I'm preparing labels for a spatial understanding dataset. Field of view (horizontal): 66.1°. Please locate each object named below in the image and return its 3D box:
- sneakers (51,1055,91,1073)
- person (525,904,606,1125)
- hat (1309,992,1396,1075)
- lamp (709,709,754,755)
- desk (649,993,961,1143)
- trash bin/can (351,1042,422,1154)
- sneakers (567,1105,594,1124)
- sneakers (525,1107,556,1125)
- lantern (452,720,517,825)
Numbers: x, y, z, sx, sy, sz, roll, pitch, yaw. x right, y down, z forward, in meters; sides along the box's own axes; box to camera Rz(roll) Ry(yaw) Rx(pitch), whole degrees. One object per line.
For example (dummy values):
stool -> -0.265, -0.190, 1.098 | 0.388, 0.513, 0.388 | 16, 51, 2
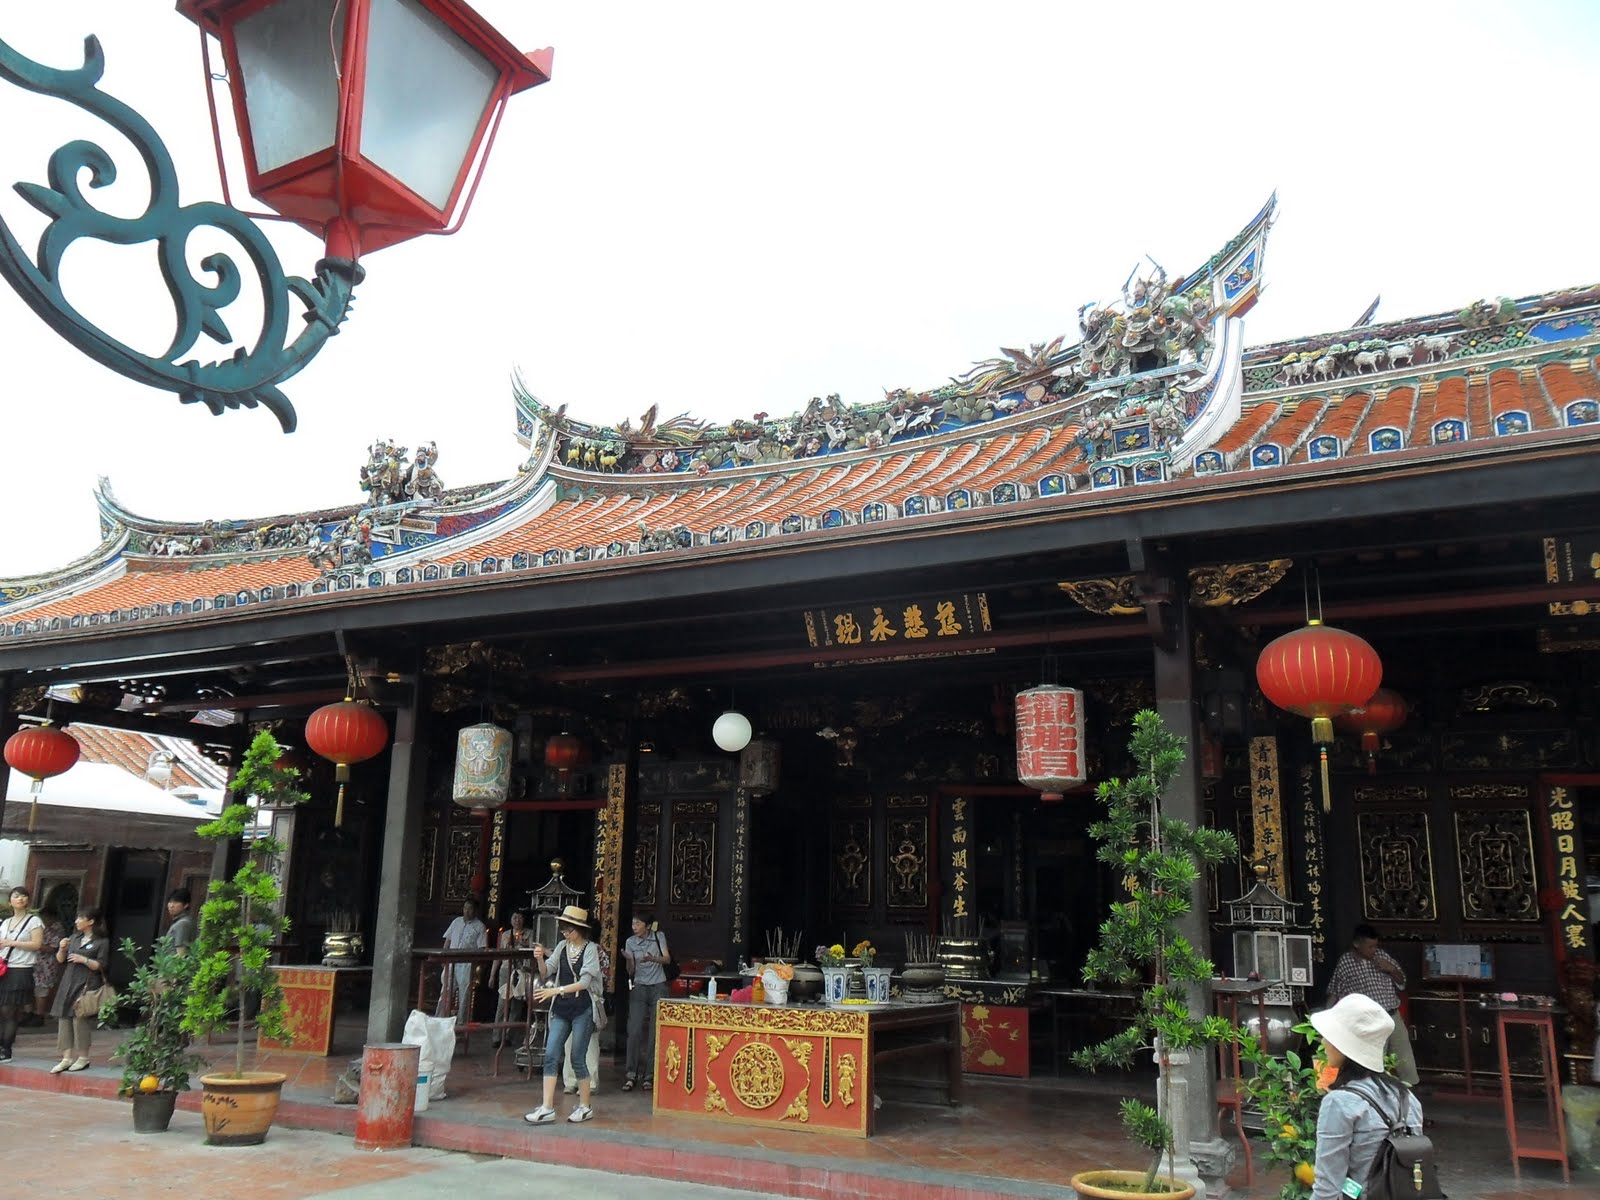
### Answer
sneakers -> -6.422, 4.099, 10.790 | 0.126, 0.118, 0.327 | -3, -19, 2
person -> -1.777, 3.092, 9.333 | 0.510, 1.531, 1.020 | 5, -20, -9
hat -> 2.153, 1.628, 4.646 | 0.370, 0.164, 0.298 | 14, 8, -27
lamp -> -0.597, 1.106, 10.701 | 0.272, 0.370, 0.489 | 0, -18, 3
desk -> 0.272, 3.573, 9.440 | 2.513, 0.695, 2.199 | 0, -21, 13
trash bin/can -> -2.845, 3.415, 8.487 | 0.403, 0.658, 0.325 | 6, -20, -14
sneakers -> -1.577, 3.687, 8.777 | 0.084, 0.065, 0.176 | -7, -21, 17
sneakers -> -1.849, 3.646, 8.697 | 0.211, 0.107, 0.233 | 4, -17, -9
lantern -> -2.577, 1.302, 9.955 | 0.420, 0.713, 0.667 | 7, -19, -15
